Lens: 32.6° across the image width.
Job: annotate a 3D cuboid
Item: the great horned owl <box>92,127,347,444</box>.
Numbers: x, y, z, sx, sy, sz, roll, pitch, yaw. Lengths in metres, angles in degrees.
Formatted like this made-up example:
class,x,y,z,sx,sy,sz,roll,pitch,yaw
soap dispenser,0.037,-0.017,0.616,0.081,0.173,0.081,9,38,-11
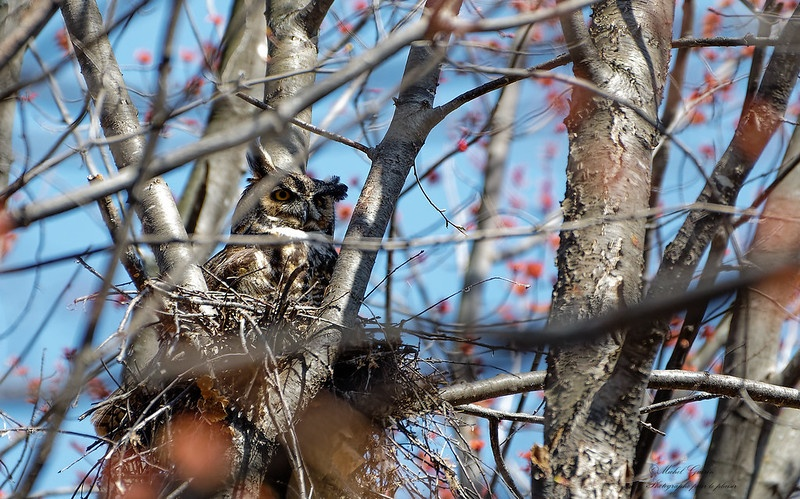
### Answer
class,x,y,z,sx,sy,sz,roll,pitch,yaw
great horned owl,-0.936,0.175,10.159,1.045,1.713,1.447,6,-20,-19
